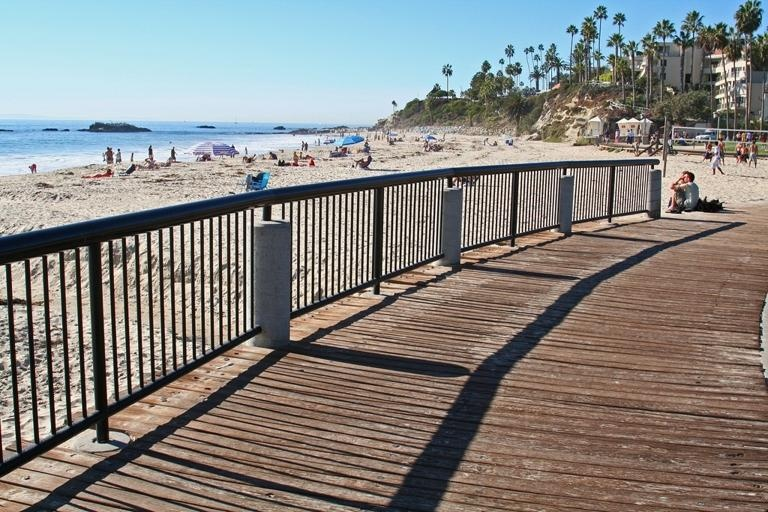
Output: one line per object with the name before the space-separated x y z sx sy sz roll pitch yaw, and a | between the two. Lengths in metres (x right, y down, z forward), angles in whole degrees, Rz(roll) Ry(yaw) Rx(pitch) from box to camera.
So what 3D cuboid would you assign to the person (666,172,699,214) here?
person | 7.879 -1.686 15.293 0.709 1.010 0.995 5 16 23
